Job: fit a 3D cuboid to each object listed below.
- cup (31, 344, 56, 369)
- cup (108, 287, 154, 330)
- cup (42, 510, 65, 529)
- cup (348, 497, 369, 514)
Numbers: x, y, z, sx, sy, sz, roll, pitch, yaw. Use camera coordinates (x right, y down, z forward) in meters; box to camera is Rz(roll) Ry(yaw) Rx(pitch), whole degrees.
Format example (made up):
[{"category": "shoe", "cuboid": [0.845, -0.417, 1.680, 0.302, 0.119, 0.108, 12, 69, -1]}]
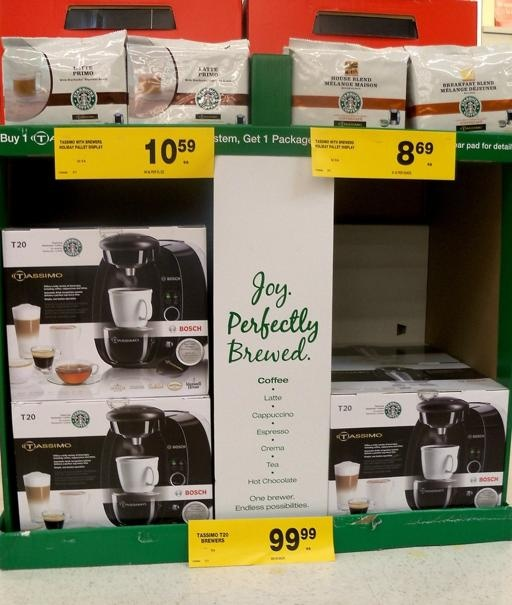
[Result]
[{"category": "cup", "cuboid": [-0.446, 0.114, 1.307, 0.048, 0.049, 0.045, 2, -2, 0]}, {"category": "cup", "cuboid": [-0.263, 0.012, 1.315, 0.084, 0.072, 0.097, 0, 3, -41]}, {"category": "cup", "cuboid": [-0.436, 0.467, 1.345, 0.040, 0.034, 0.042, 0, -19, 0]}, {"category": "cup", "cuboid": [0.232, 0.458, 1.407, 0.035, 0.030, 0.038, 0, -9, 0]}]
